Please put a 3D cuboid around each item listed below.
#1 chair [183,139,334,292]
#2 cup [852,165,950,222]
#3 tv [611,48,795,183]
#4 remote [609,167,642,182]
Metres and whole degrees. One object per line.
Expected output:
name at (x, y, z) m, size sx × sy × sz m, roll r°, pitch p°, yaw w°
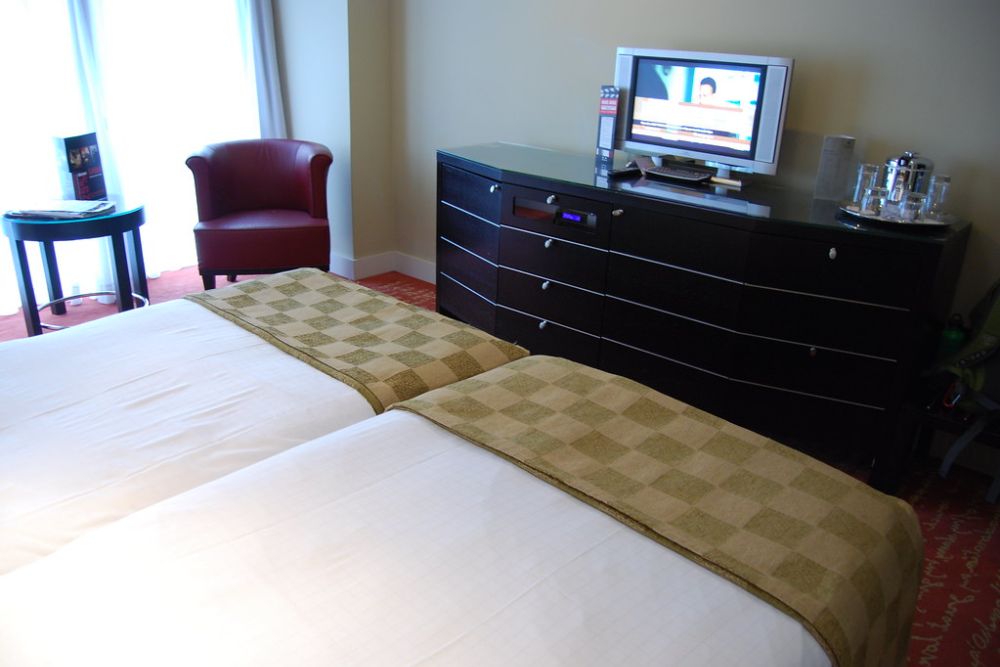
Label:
chair at (-1.602, -0.811, 4.697) m, size 0.927 × 0.851 × 0.851 m, roll 0°, pitch 23°, yaw -8°
cup at (1.774, -0.622, 3.069) m, size 0.409 × 0.230 × 0.309 m, roll 11°, pitch 25°, yaw 24°
tv at (1.064, -1.135, 3.548) m, size 0.696 × 0.446 × 0.200 m, roll 18°, pitch 30°, yaw 28°
remote at (0.685, -0.872, 3.785) m, size 0.190 × 0.041 × 0.105 m, roll -11°, pitch 24°, yaw -28°
